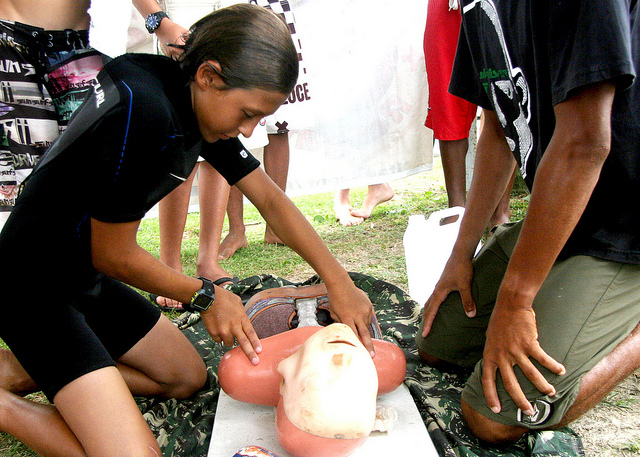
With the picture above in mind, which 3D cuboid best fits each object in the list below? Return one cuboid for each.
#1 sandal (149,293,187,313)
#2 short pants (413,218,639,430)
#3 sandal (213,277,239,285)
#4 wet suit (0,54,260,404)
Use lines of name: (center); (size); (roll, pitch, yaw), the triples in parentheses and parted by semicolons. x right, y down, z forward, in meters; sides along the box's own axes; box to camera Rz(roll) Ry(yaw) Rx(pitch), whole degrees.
sandal: (-0.784, 0.353, 2.459); (0.127, 0.108, 0.353); (2, 1, -9)
short pants: (0.678, 0.321, 1.668); (0.563, 0.562, 0.573); (-17, 28, -31)
sandal: (-0.457, 0.258, 2.337); (0.124, 0.046, 0.041); (-5, 12, -22)
wet suit: (-0.692, 0.028, 1.499); (0.450, 1.043, 0.625); (12, 28, 29)
